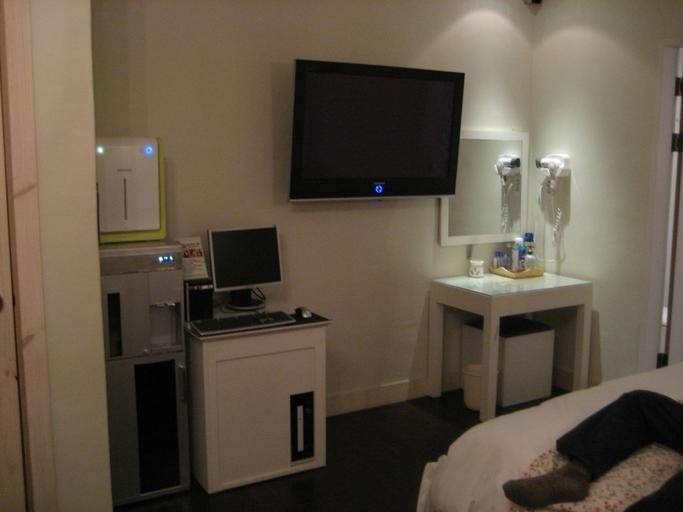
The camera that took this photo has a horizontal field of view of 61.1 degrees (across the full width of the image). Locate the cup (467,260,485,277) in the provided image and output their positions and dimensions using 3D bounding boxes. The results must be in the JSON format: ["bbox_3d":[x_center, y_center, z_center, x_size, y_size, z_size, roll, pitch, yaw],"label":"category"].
[{"bbox_3d":[0.974,0.085,4.204,0.105,0.129,0.112,0,4,0],"label":"cup"}]

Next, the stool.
[{"bbox_3d":[1.091,0.673,4.082,0.551,0.646,0.572,-6,11,-28],"label":"stool"}]

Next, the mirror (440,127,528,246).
[{"bbox_3d":[0.999,-0.513,4.139,0.746,0.950,0.038,-4,13,-28],"label":"mirror"}]

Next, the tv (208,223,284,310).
[{"bbox_3d":[-0.565,0.048,3.295,0.440,0.513,0.263,-4,3,-30],"label":"tv"}]

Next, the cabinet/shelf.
[{"bbox_3d":[-0.432,0.777,3.203,0.680,0.839,0.322,-3,8,-24],"label":"cabinet/shelf"}]

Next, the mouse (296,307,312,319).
[{"bbox_3d":[-0.215,0.303,3.231,0.048,0.032,0.082,-7,22,-24],"label":"mouse"}]

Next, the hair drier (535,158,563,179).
[{"bbox_3d":[1.472,-0.636,4.090,0.135,0.139,0.148,2,8,-39],"label":"hair drier"}]

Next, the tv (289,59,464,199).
[{"bbox_3d":[0.180,-0.796,3.568,0.834,0.635,0.089,-4,19,-22],"label":"tv"}]

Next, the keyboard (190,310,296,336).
[{"bbox_3d":[-0.514,0.349,3.084,0.542,0.032,0.290,-9,16,-33],"label":"keyboard"}]

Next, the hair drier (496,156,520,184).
[{"bbox_3d":[1.223,-0.628,4.221,0.150,0.209,0.208,0,3,27],"label":"hair drier"}]
